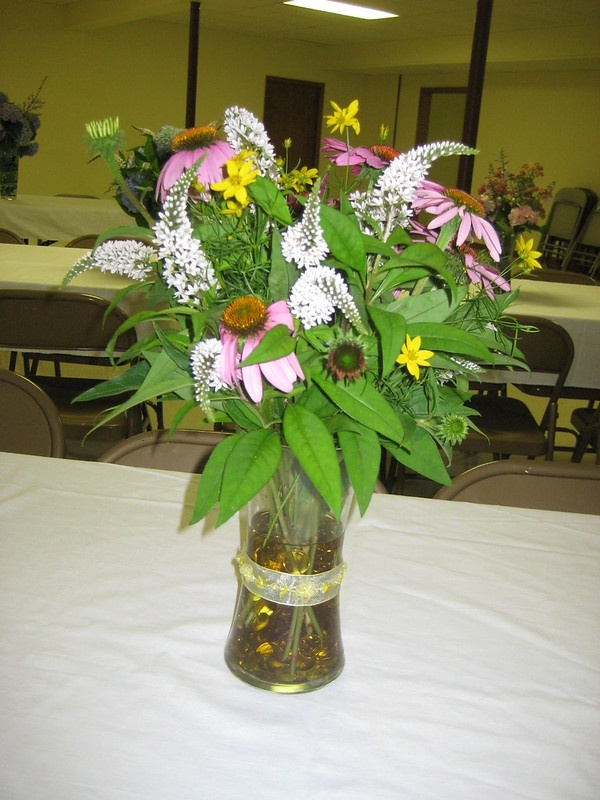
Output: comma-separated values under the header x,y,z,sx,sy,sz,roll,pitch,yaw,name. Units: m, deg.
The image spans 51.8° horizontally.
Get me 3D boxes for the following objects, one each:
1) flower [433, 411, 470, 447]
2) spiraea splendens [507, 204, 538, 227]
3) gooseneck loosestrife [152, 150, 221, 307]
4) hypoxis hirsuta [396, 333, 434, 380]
x,y,z,sx,sy,sz,roll,pitch,yaw,name
0.122,0.024,0.510,0.028,0.025,0.011,1,-21,19,flower
1.101,-0.918,3.045,0.140,0.107,0.119,8,9,14,spiraea splendens
-0.076,-0.113,0.430,0.036,0.089,0.053,9,10,18,gooseneck loosestrife
0.076,-0.031,0.414,0.021,0.026,0.035,8,10,15,hypoxis hirsuta
